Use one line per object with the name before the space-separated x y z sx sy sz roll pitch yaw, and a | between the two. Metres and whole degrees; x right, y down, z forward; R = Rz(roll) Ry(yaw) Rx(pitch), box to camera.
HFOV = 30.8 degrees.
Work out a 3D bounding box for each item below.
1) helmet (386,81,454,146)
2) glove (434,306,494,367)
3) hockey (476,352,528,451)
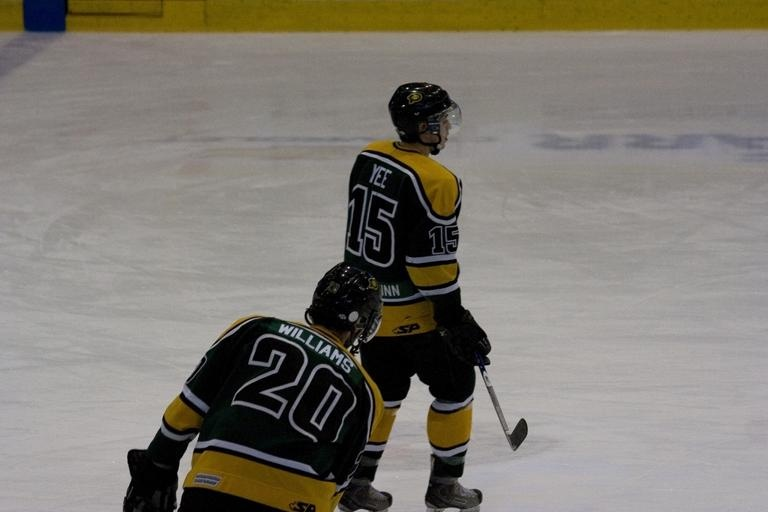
helmet | 0.245 -0.871 8.583 0.479 0.421 0.363 -8 16 -3
glove | 0.517 0.502 8.448 0.261 0.386 0.117 -38 -10 -24
hockey | 0.702 0.922 8.629 0.270 0.633 0.076 -16 -10 -33
